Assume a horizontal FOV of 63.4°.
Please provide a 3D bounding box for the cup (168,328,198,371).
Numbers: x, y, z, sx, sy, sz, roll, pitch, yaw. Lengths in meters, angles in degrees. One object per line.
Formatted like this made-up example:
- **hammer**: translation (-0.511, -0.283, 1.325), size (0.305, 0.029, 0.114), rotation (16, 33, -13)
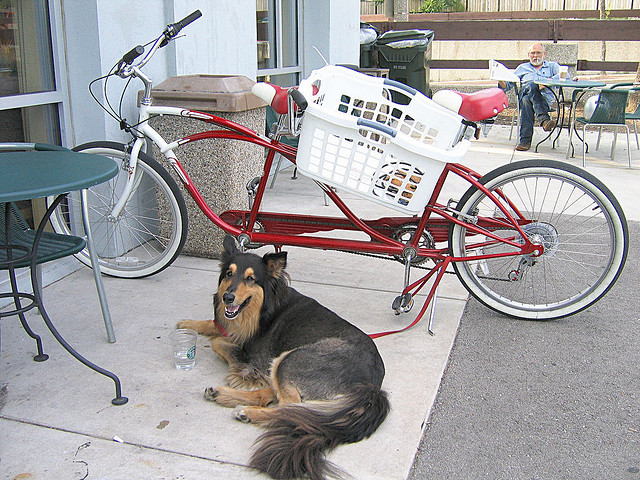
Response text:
- **cup**: translation (-0.744, 0.620, 2.864), size (0.164, 0.185, 0.171), rotation (-1, -5, 0)

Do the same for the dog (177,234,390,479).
- **dog**: translation (-0.189, 0.549, 2.525), size (1.058, 0.423, 0.825), rotation (27, 16, 40)

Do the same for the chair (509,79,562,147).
- **chair**: translation (3.654, -2.140, 8.815), size (0.566, 0.891, 0.494), rotation (5, 20, -35)

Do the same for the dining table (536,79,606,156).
- **dining table**: translation (4.788, -2.288, 9.831), size (1.025, 1.126, 1.037), rotation (5, 15, 2)
